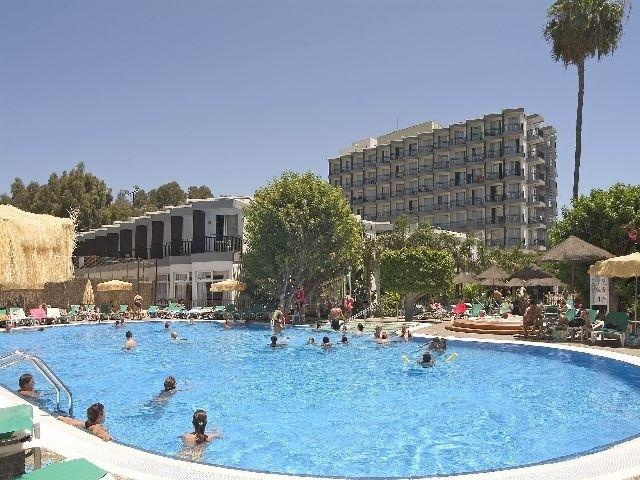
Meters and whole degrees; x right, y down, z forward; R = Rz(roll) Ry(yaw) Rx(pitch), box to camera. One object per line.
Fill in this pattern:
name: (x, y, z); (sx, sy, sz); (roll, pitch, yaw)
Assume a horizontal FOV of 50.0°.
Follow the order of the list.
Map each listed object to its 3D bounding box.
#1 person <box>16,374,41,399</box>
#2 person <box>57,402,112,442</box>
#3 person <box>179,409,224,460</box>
person: (-9.893, 5.022, 23.366); (0.664, 1.137, 1.158); (-5, 4, -22)
person: (-6.850, 5.458, 20.917); (2.263, 0.987, 0.742); (2, -2, 43)
person: (-3.809, 6.042, 21.349); (0.858, 0.738, 1.548); (2, 4, 13)
